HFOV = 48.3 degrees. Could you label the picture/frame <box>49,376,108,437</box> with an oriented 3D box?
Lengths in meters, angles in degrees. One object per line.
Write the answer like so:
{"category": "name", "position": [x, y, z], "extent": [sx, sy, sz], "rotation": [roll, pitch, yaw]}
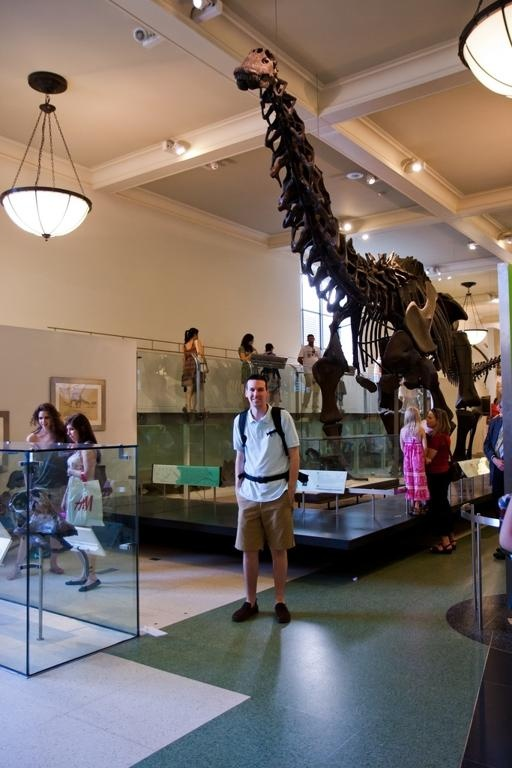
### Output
{"category": "picture/frame", "position": [-1.660, 0.182, 5.278], "extent": [0.023, 0.456, 0.629], "rotation": [-2, -2, 23]}

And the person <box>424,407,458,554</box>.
{"category": "person", "position": [1.765, 0.926, 5.494], "extent": [0.237, 1.375, 0.374], "rotation": [-3, -8, 17]}

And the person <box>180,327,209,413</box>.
{"category": "person", "position": [-0.857, -0.220, 8.026], "extent": [0.365, 1.289, 0.692], "rotation": [0, -7, -6]}

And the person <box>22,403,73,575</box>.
{"category": "person", "position": [-1.236, 0.534, 3.381], "extent": [0.223, 0.957, 1.551], "rotation": [2, -8, -19]}

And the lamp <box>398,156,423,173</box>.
{"category": "lamp", "position": [2.326, -3.308, 8.572], "extent": [0.306, 0.257, 0.254], "rotation": [-6, -9, 33]}

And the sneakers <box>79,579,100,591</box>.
{"category": "sneakers", "position": [-0.866, 1.051, 2.978], "extent": [0.037, 0.045, 0.111], "rotation": [-10, -13, 22]}

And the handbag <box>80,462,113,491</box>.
{"category": "handbag", "position": [-0.833, 0.508, 3.011], "extent": [0.079, 0.127, 0.130], "rotation": [1, -5, 1]}

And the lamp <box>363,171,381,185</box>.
{"category": "lamp", "position": [1.821, -3.308, 9.084], "extent": [0.205, 0.097, 0.294], "rotation": [-1, -3, -3]}

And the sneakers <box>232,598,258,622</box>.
{"category": "sneakers", "position": [-0.063, 1.407, 3.514], "extent": [0.067, 0.075, 0.185], "rotation": [-4, -12, 25]}

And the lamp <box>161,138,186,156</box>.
{"category": "lamp", "position": [-1.155, -3.413, 8.217], "extent": [0.271, 0.119, 0.195], "rotation": [0, 0, -43]}

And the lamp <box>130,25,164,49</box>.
{"category": "lamp", "position": [-1.056, -3.434, 5.667], "extent": [0.181, 0.085, 0.251], "rotation": [-4, 4, 27]}

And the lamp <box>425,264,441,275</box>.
{"category": "lamp", "position": [4.711, -2.989, 15.169], "extent": [0.373, 0.181, 0.836], "rotation": [-3, -7, 19]}

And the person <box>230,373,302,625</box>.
{"category": "person", "position": [0.033, 0.692, 3.495], "extent": [0.258, 1.471, 0.462], "rotation": [5, -9, -39]}

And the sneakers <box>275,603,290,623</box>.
{"category": "sneakers", "position": [0.161, 1.375, 3.425], "extent": [0.091, 0.093, 0.162], "rotation": [-1, -7, 2]}

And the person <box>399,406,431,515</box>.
{"category": "person", "position": [1.517, 0.728, 5.452], "extent": [0.227, 1.017, 0.439], "rotation": [-3, -8, 15]}

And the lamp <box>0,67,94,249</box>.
{"category": "lamp", "position": [-2.609, -2.559, 7.082], "extent": [0.887, 2.231, 2.707], "rotation": [2, -8, -23]}
